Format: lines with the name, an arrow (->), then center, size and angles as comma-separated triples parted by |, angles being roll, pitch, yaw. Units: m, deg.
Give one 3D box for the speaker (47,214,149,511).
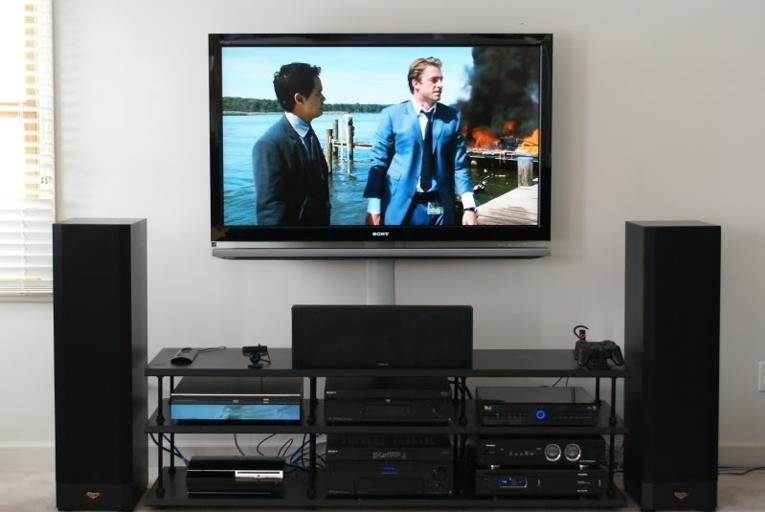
speaker -> -1.424, 0.558, 3.814 | 0.372, 1.436, 0.150 | 0, 6, 6
